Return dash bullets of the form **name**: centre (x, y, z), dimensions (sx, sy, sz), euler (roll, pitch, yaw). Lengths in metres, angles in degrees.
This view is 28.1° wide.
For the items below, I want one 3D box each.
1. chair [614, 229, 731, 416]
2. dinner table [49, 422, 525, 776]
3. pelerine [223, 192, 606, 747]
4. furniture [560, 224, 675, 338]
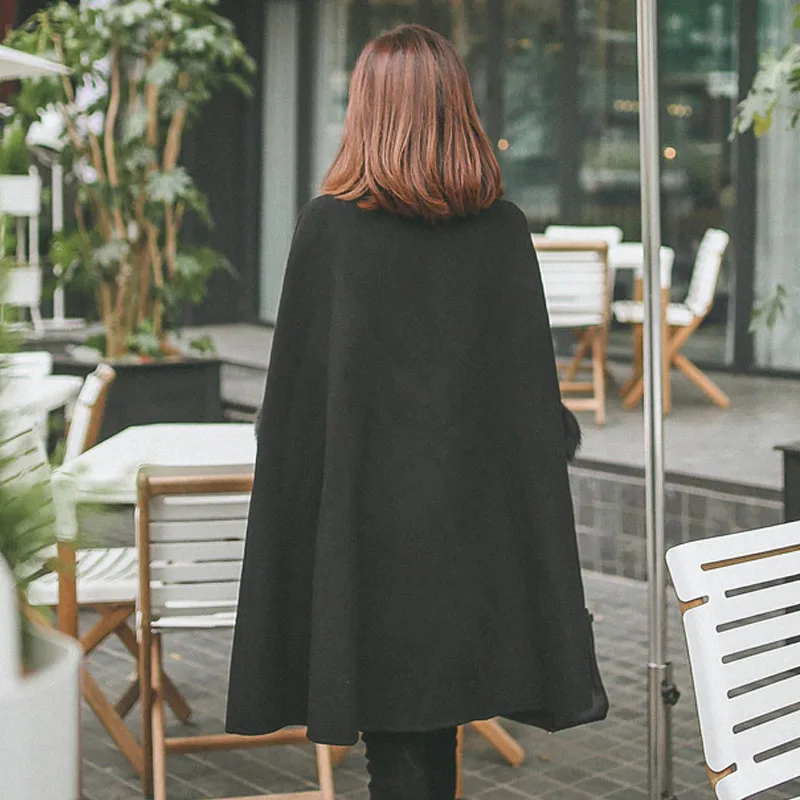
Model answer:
- **chair**: centre (1.248, -0.340, 7.369), dimensions (0.526, 0.803, 0.537), euler (1, 1, 9)
- **dinner table**: centre (-0.307, 0.592, 3.905), dimensions (1.019, 1.045, 0.885), euler (-1, 9, -4)
- **pelerine**: centre (0.043, 0.116, 3.090), dimensions (0.717, 1.025, 0.279), euler (0, -5, -5)
- **furniture**: centre (1.019, -0.433, 7.602), dimensions (0.475, 0.408, 0.803), euler (-1, 13, 6)
